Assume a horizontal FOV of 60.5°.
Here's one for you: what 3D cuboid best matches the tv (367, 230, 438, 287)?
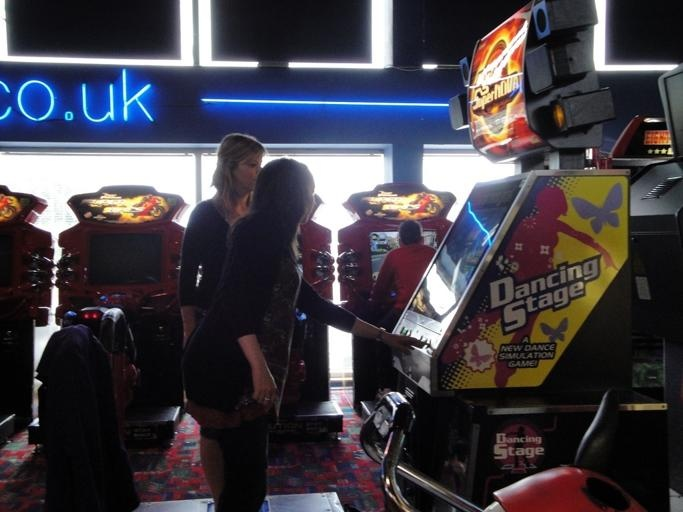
[{"bbox_3d":[0.465,0.030,4.667,0.532,0.357,0.035,-1,6,-2],"label":"tv"}]

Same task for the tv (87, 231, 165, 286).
[{"bbox_3d":[-1.791,0.023,4.848,0.569,0.423,0.106,2,6,-5],"label":"tv"}]
